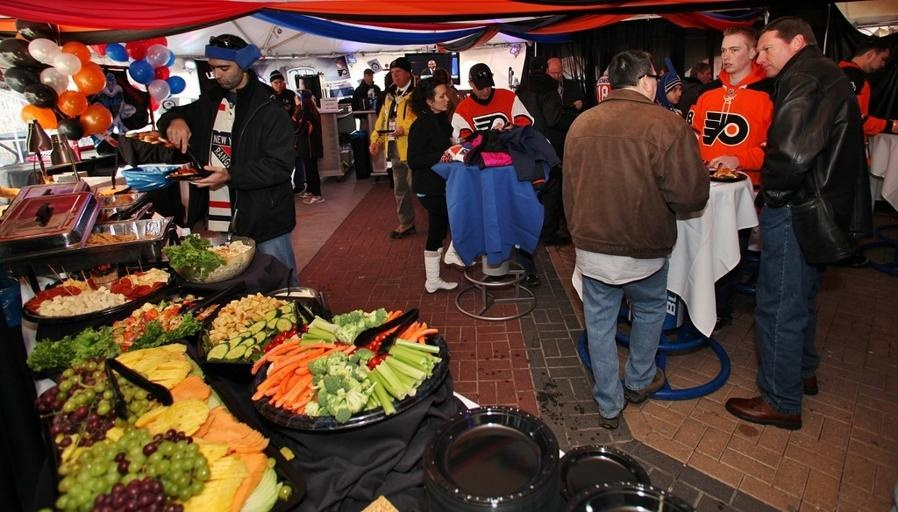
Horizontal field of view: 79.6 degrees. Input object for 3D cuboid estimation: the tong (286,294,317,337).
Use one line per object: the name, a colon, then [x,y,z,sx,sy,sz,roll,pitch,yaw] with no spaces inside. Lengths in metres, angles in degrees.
tong: [-1.041,0.413,3.824,0.113,0.075,0.376,-20,22,-15]

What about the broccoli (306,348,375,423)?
broccoli: [-0.635,0.788,3.291,0.425,0.123,0.373,-19,61,-20]

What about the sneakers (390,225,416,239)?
sneakers: [-0.687,-0.361,8.210,0.466,0.173,0.155,-6,13,-22]

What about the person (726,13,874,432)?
person: [2.840,-0.205,4.290,0.799,3.268,0.996,6,23,34]

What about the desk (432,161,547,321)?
desk: [0.111,-0.270,5.928,1.474,1.590,1.682,3,10,21]

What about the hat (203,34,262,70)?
hat: [-1.798,-1.698,4.578,0.307,0.207,0.406,23,19,23]

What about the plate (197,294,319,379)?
plate: [-1.367,0.510,3.698,0.580,0.185,0.599,-3,28,17]

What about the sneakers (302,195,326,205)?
sneakers: [-2.614,-1.095,10.427,0.462,0.154,0.198,-1,9,-27]

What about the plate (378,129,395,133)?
plate: [-0.978,-2.015,8.664,0.198,0.046,0.189,5,15,18]

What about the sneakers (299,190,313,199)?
sneakers: [-2.831,-1.257,10.724,0.239,0.131,0.358,-4,14,-23]

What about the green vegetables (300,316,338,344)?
green vegetables: [-0.855,0.495,3.597,0.178,0.068,0.168,14,41,15]

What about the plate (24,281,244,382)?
plate: [-2.175,0.532,3.662,1.071,0.157,0.642,-22,15,-16]

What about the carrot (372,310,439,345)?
carrot: [-0.329,0.462,3.584,0.316,0.078,0.171,-30,61,-34]

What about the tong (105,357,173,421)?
tong: [-1.940,0.794,3.298,0.368,0.092,0.375,35,36,21]

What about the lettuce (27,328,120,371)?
lettuce: [-2.447,0.604,3.507,0.449,0.165,0.361,-3,12,-2]

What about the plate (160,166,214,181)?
plate: [-2.125,-0.678,4.403,0.402,0.090,0.252,10,22,41]

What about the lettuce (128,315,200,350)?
lettuce: [-1.922,0.487,3.653,0.236,0.121,0.342,0,17,32]

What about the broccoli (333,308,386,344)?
broccoli: [-0.596,0.490,3.666,0.273,0.082,0.251,-27,20,-36]

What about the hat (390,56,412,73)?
hat: [-0.694,-2.842,7.910,0.332,0.227,0.311,-11,6,-26]

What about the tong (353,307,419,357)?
tong: [-0.327,0.503,3.634,0.585,0.146,0.162,-22,-12,-34]

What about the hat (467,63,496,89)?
hat: [0.389,-2.087,6.179,0.253,0.177,0.318,-13,40,-12]

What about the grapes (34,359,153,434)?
grapes: [-2.132,0.907,3.315,0.624,0.257,0.377,-10,36,-23]

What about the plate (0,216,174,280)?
plate: [-2.711,-0.049,4.095,0.872,0.122,0.510,-7,16,-23]

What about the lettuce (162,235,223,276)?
lettuce: [-1.906,0.007,4.015,0.389,0.183,0.348,4,27,-10]

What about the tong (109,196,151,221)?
tong: [-2.758,-0.409,4.681,0.201,0.036,0.261,-6,32,13]

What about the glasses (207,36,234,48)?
glasses: [-1.906,-1.808,4.519,0.169,0.105,0.214,-6,17,-4]

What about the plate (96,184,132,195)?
plate: [-3.230,-0.639,5.187,0.213,0.037,0.198,4,12,5]

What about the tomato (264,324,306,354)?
tomato: [-1.101,0.550,3.650,0.087,0.083,0.363,22,25,31]

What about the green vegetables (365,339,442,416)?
green vegetables: [-0.298,0.744,3.350,0.396,0.130,0.401,13,47,9]

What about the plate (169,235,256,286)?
plate: [-1.765,0.022,4.219,0.494,0.222,0.464,2,12,6]

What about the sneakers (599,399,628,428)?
sneakers: [1.457,1.375,4.694,0.345,0.122,0.121,-14,14,-42]

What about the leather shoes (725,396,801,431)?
leather shoes: [2.639,1.308,4.582,0.597,0.235,0.241,8,14,26]
